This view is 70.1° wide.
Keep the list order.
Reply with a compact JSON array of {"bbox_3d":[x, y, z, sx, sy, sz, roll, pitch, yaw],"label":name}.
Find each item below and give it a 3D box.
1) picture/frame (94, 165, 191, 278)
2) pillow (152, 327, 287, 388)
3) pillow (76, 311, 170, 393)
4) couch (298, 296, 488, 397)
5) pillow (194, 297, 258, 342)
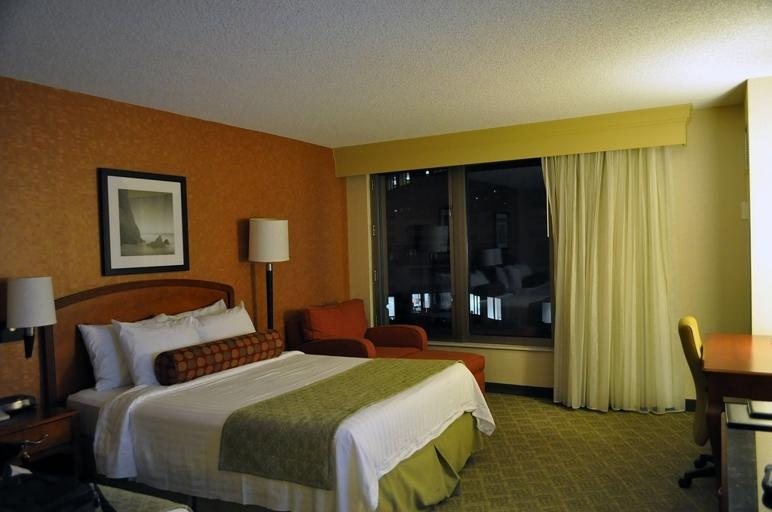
[{"bbox_3d":[-2.447,-0.349,5.461,0.058,1.285,1.168,-1,2,39],"label":"picture/frame"},{"bbox_3d":[-1.519,0.956,5.370,1.077,0.244,0.256,-9,14,-34],"label":"pillow"},{"bbox_3d":[-2.532,0.896,5.018,0.658,0.521,0.181,-8,-8,-42],"label":"pillow"},{"bbox_3d":[0.011,1.199,6.648,1.980,1.142,1.381,-1,1,23],"label":"couch"},{"bbox_3d":[-1.558,0.633,5.559,0.118,0.300,0.417,-30,-11,26],"label":"pillow"}]
